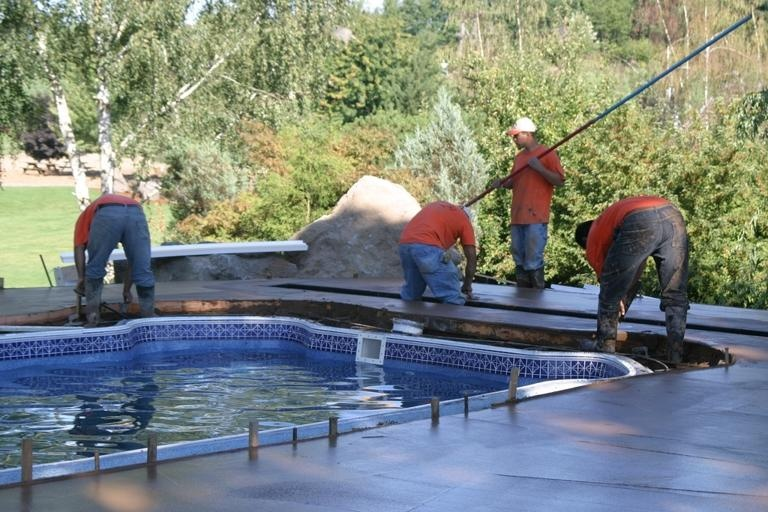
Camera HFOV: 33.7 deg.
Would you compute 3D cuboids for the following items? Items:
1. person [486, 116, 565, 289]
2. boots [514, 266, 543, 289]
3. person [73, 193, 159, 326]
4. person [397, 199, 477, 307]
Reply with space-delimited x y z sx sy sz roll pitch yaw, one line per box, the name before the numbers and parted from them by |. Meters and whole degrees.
person | 2.708 -0.950 23.293 1.037 3.103 0.573 7 10 31
boots | 2.742 0.350 23.709 0.473 0.460 0.456 3 22 28
person | -4.529 0.054 21.417 1.300 2.197 0.392 0 9 -14
person | 0.922 -0.060 22.127 1.328 1.784 0.620 2 8 1
